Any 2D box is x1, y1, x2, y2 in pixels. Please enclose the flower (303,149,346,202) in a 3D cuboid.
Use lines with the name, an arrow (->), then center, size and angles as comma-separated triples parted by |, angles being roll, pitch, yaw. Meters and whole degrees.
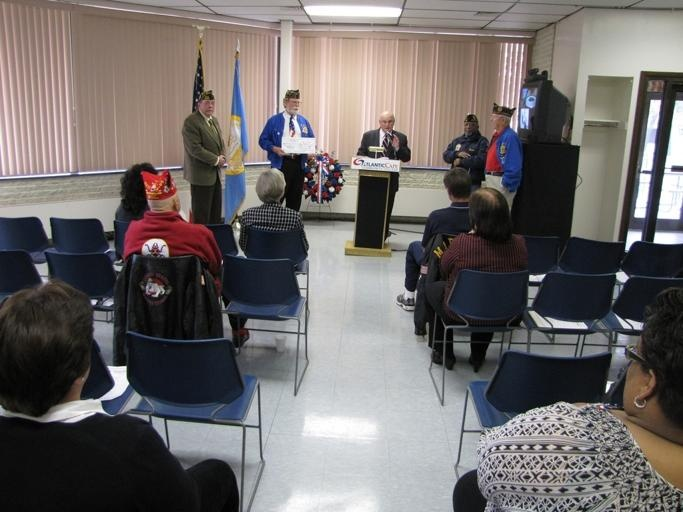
flower -> -0.266, -1.191, 8.025 | 0.584, 0.766, 0.239 | -2, 6, -10

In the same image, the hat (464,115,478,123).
hat -> 1.734, -1.868, 7.233 | 0.156, 0.104, 0.180 | 5, 12, 18

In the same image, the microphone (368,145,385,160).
microphone -> 0.430, -1.277, 6.604 | 0.169, 0.125, 0.268 | 2, 18, 1

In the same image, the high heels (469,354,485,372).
high heels -> 0.970, 0.771, 3.867 | 0.055, 0.079, 0.177 | 0, 10, 8

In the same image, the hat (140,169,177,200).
hat -> -1.050, -0.422, 3.109 | 0.167, 0.188, 0.231 | -5, 18, -21

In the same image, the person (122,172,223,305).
person -> -1.011, -0.063, 3.191 | 0.513, 0.862, 0.437 | -3, 5, -5

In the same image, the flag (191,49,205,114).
flag -> -1.843, -2.343, 7.018 | 0.138, 0.913, 0.074 | 4, -23, -23

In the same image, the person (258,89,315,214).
person -> -0.730, -1.251, 7.373 | 0.671, 1.962, 0.593 | 0, 30, -10

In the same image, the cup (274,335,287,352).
cup -> -0.466, 0.681, 4.139 | 0.093, 0.150, 0.083 | 1, -5, -3

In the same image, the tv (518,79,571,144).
tv -> 2.472, -1.760, 6.619 | 0.429, 0.726, 0.686 | 1, 13, -5

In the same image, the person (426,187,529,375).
person -> 0.927, 0.166, 3.853 | 0.561, 1.430, 0.717 | -5, 16, -16

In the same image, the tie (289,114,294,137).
tie -> -0.653, -1.738, 7.128 | 0.070, 0.247, 0.130 | 0, 16, -6

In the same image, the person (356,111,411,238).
person -> 0.535, -1.014, 7.410 | 0.662, 1.888, 0.582 | 3, 21, 7

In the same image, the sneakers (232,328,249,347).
sneakers -> -0.760, 0.612, 4.003 | 0.078, 0.120, 0.256 | -4, 2, 8

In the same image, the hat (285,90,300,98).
hat -> -0.641, -2.122, 7.071 | 0.176, 0.155, 0.196 | 1, 7, -8

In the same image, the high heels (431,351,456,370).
high heels -> 0.737, 0.746, 3.879 | 0.085, 0.123, 0.259 | 0, 12, -5

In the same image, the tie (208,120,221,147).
tie -> -1.549, -1.494, 6.495 | 0.076, 0.297, 0.185 | -6, 3, 32
